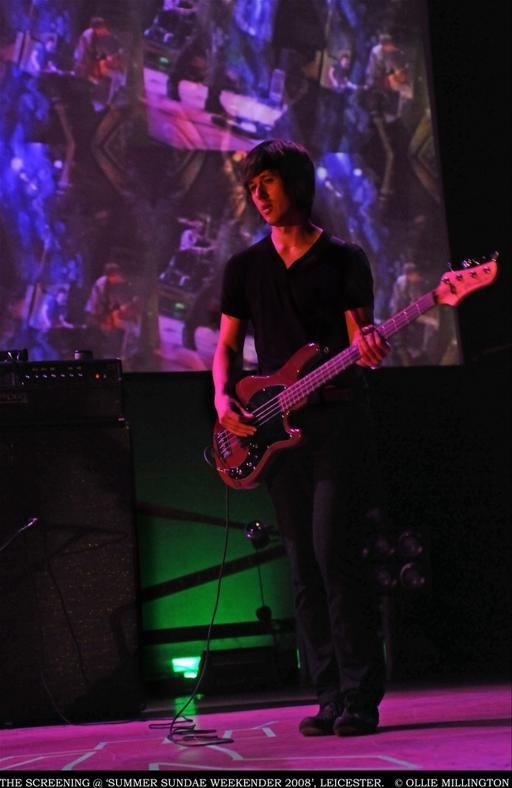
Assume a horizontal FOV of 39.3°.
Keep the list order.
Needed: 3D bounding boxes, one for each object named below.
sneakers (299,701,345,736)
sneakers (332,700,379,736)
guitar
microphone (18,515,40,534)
[{"bbox_3d":[0.162,0.821,1.788,0.148,0.049,0.063,12,69,-33],"label":"sneakers"},{"bbox_3d":[0.227,0.781,1.734,0.141,0.050,0.059,22,51,-31],"label":"sneakers"},{"bbox_3d":[0.222,-0.035,1.913,0.588,0.826,0.270,4,48,-9],"label":"guitar"},{"bbox_3d":[-0.666,0.388,2.105,0.008,0.054,0.027,0,55,-56],"label":"microphone"}]
